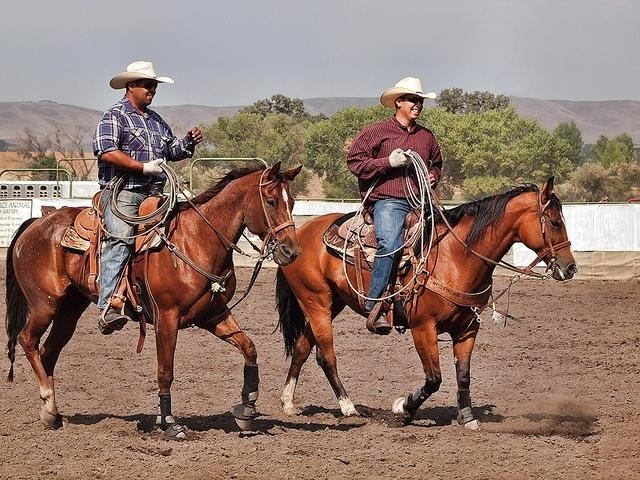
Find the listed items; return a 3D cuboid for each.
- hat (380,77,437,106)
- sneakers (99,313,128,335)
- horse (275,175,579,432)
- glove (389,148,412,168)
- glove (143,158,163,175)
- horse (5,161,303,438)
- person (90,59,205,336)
[{"bbox_3d":[0.939,-1.589,9.200,0.503,0.273,0.772,-1,6,-5],"label":"hat"},{"bbox_3d":[-2.155,0.841,8.710,0.159,0.160,0.384,20,-33,-38],"label":"sneakers"},{"bbox_3d":[0.997,0.822,9.371,3.678,2.531,1.061,-2,-6,34],"label":"horse"},{"bbox_3d":[0.850,-0.855,8.982,0.205,0.199,0.274,4,8,29],"label":"glove"},{"bbox_3d":[-1.710,-0.739,8.691,0.197,0.153,0.172,-1,7,-12],"label":"glove"},{"bbox_3d":[-1.863,0.842,9.791,3.807,2.994,1.236,1,-5,18],"label":"horse"},{"bbox_3d":[-1.855,-0.441,8.868,1.061,2.763,0.672,-3,8,-27],"label":"person"}]
